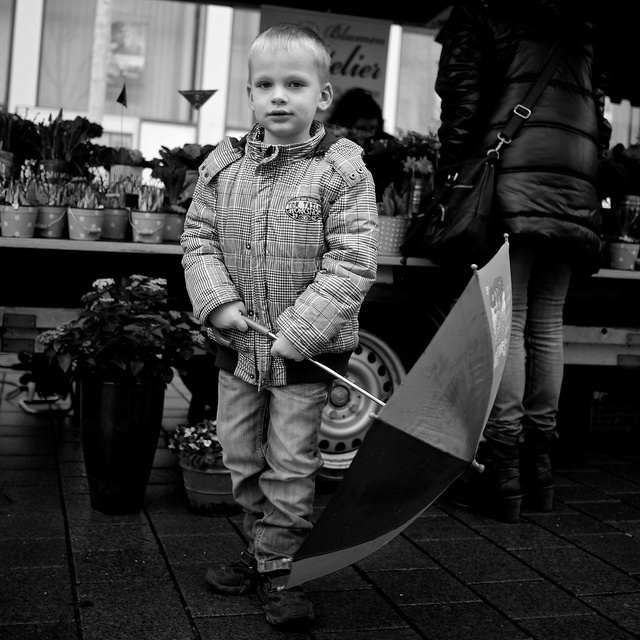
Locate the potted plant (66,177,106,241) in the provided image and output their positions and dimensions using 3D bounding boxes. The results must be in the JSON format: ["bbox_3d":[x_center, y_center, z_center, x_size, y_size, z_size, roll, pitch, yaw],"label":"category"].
[{"bbox_3d":[-1.042,-0.482,3.519,0.154,0.252,0.318,3,6,-16],"label":"potted plant"}]

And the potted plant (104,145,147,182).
[{"bbox_3d":[-0.963,-0.772,3.928,0.205,0.192,0.205,9,13,39],"label":"potted plant"}]

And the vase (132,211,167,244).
[{"bbox_3d":[-0.775,-0.416,3.555,0.152,0.141,0.109,3,6,-9],"label":"vase"}]

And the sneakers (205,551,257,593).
[{"bbox_3d":[-0.275,0.805,2.525,0.189,0.081,0.088,8,3,-14],"label":"sneakers"}]

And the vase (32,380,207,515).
[{"bbox_3d":[-0.723,0.506,3.309,0.532,0.700,0.498,1,-2,-3],"label":"vase"}]

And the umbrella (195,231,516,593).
[{"bbox_3d":[0.278,0.249,2.099,0.697,0.930,0.304,-1,9,-41],"label":"umbrella"}]

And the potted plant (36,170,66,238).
[{"bbox_3d":[-1.193,-0.514,3.514,0.125,0.295,0.395,2,6,-20],"label":"potted plant"}]

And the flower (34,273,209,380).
[{"bbox_3d":[-0.823,-0.037,3.127,0.496,0.281,0.517,5,7,36],"label":"flower"}]

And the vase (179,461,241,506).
[{"bbox_3d":[-0.419,0.672,3.330,0.299,0.204,0.280,-2,-2,5],"label":"vase"}]

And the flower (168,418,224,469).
[{"bbox_3d":[-0.501,0.502,3.243,0.241,0.086,0.215,15,29,25],"label":"flower"}]

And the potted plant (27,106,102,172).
[{"bbox_3d":[-1.211,-0.829,3.848,0.317,0.258,0.308,6,-5,-38],"label":"potted plant"}]
